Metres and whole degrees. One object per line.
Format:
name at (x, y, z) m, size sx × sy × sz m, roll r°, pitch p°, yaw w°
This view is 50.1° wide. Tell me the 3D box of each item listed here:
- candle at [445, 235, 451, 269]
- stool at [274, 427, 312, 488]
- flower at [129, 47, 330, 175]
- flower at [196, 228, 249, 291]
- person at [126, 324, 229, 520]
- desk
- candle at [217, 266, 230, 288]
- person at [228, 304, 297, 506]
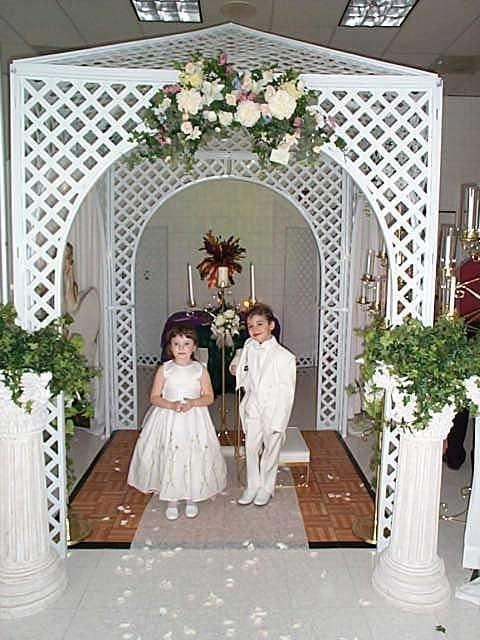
candle at (1.290, -0.415, 3.179) m, size 0.030 × 0.208 × 0.112 m, roll 4°, pitch 6°, yaw 21°
stool at (0.420, 1.172, 4.134) m, size 0.325 × 0.264 × 0.562 m, roll 3°, pitch 25°, yaw 5°
flower at (-0.051, -1.033, 2.555) m, size 1.067 × 0.648 × 0.440 m, roll 10°, pitch 14°, yaw 1°
flower at (-0.164, -0.552, 4.680) m, size 0.375 × 0.511 × 0.456 m, roll 3°, pitch 6°, yaw 18°
person at (-0.425, 0.685, 3.515) m, size 0.681 × 1.265 × 0.435 m, roll 1°, pitch 5°, yaw -4°
desk at (-0.126, 0.126, 6.864) m, size 1.213 × 0.618 × 1.177 m, roll -13°, pitch 24°, yaw -22°
candle at (-0.144, -0.370, 4.510) m, size 0.108 × 0.198 × 0.135 m, roll 1°, pitch 5°, yaw -3°
person at (0.127, 0.603, 3.718) m, size 0.335 × 1.413 × 0.516 m, roll -2°, pitch 7°, yaw -34°
